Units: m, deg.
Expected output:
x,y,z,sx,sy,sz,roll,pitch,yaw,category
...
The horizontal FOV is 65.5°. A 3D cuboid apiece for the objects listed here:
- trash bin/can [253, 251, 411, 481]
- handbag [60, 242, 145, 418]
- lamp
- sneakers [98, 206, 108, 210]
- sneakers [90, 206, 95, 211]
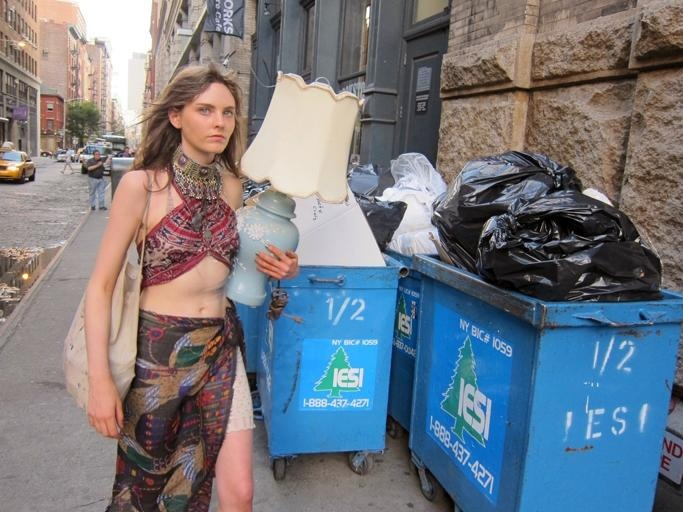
x,y,z,sx,sy,sz,roll,pitch,yaw,category
-0.096,0.716,4.236,1.096,1.720,1.704,-2,10,-8,trash bin/can
-1.030,0.309,2.327,0.349,0.685,0.303,-6,16,-30,handbag
-0.312,-0.306,2.654,0.552,1.144,0.576,12,14,-32,lamp
-7.615,-1.520,16.955,0.208,0.102,0.094,4,4,30,sneakers
-7.745,-1.475,16.615,0.094,0.122,0.100,2,4,-7,sneakers
